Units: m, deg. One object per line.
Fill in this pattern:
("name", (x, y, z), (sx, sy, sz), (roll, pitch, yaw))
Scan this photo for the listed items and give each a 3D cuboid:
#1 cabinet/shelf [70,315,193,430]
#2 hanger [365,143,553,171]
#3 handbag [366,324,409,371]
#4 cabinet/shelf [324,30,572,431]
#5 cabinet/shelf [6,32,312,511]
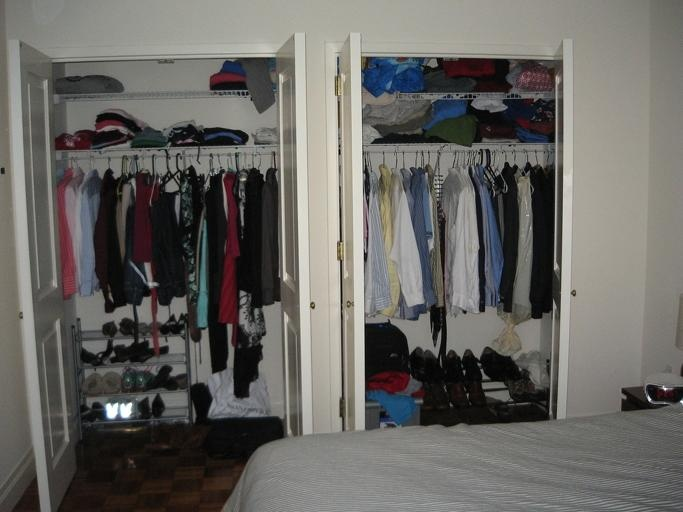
("cabinet/shelf", (-1.490, 0.822, 4.411), (0.698, 0.736, 0.260), (-1, 6, -6))
("hanger", (0.807, -0.727, 4.453), (1.464, 0.230, 0.072), (-3, -9, -2))
("handbag", (0.311, 0.629, 4.412), (0.302, 0.332, 0.227), (1, -13, -6))
("cabinet/shelf", (0.690, -0.187, 4.024), (1.660, 2.352, 1.535), (-4, 3, -3))
("cabinet/shelf", (-1.146, 0.006, 4.060), (1.798, 2.488, 1.354), (-4, 3, 0))
